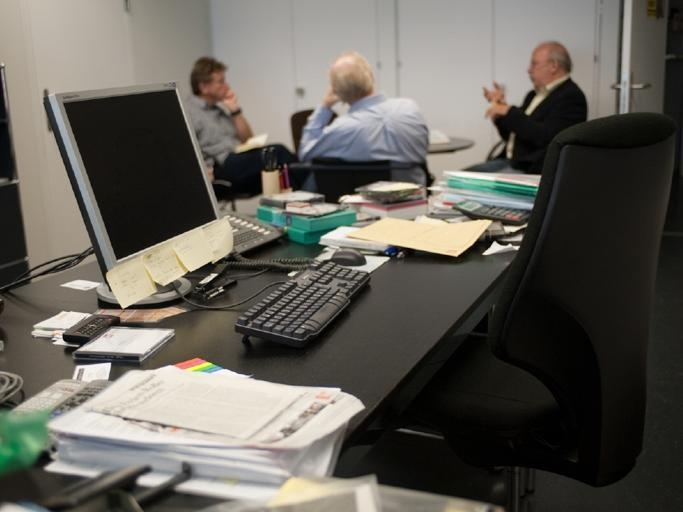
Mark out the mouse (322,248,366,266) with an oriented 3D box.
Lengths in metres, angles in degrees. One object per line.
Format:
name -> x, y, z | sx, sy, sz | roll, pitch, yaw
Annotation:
mouse -> 0.005, -0.004, 1.468 | 0.073, 0.024, 0.052 | 6, 17, 14

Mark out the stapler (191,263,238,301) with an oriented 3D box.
stapler -> -0.318, 0.060, 1.345 | 0.069, 0.045, 0.127 | 14, 30, 29

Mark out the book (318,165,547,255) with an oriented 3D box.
book -> 0.313, -0.113, 1.671 | 0.400, 0.090, 0.459 | 8, 28, 24

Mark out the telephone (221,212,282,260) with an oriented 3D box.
telephone -> -0.327, -0.091, 1.674 | 0.184, 0.129, 0.241 | 13, 16, 23

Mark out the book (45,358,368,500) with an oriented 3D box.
book -> -0.196, 0.247, 0.806 | 0.405, 0.101, 0.254 | 0, 24, 19

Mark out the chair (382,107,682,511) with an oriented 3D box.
chair -> 0.425, 0.088, 1.217 | 0.547, 0.763, 0.373 | 2, 24, 24
